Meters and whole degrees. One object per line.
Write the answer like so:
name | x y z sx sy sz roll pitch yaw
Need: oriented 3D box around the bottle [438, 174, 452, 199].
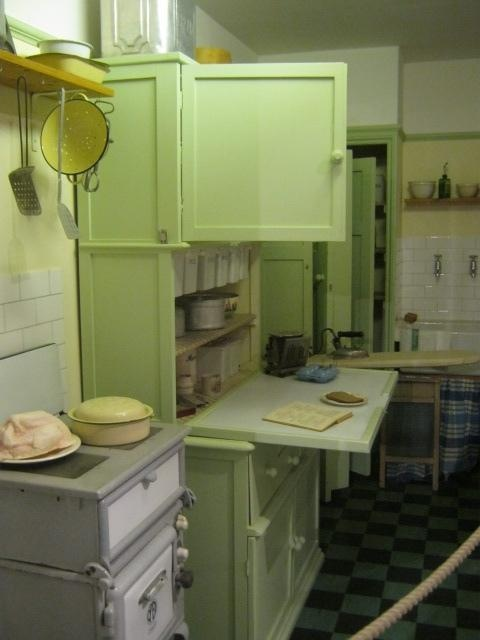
bottle | 1.678 -1.100 4.787 0.099 0.217 0.185 0 7 19

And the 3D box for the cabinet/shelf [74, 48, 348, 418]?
cabinet/shelf | 0.155 -0.449 2.697 1.293 1.695 0.919 2 7 16

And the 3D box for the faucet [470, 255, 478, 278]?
faucet | 1.978 -0.450 4.942 0.065 0.203 0.051 0 7 22

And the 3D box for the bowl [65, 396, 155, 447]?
bowl | -0.325 0.255 1.456 0.207 0.089 0.163 -4 6 -14

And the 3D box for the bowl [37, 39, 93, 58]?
bowl | -0.448 -0.703 1.518 0.091 0.034 0.095 -1 19 0

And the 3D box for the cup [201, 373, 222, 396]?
cup | -0.121 0.271 2.380 0.063 0.087 0.095 0 1 32

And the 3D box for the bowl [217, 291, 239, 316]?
bowl | -0.057 -0.079 2.789 0.110 0.099 0.110 0 10 0

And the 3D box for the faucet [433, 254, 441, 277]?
faucet | 1.700 -0.464 5.015 0.073 0.202 0.066 -1 7 14

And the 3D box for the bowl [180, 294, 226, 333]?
bowl | -0.152 -0.021 2.502 0.157 0.104 0.150 -1 3 0

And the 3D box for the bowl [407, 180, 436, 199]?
bowl | 1.498 -1.065 4.776 0.199 0.128 0.170 -1 3 6
